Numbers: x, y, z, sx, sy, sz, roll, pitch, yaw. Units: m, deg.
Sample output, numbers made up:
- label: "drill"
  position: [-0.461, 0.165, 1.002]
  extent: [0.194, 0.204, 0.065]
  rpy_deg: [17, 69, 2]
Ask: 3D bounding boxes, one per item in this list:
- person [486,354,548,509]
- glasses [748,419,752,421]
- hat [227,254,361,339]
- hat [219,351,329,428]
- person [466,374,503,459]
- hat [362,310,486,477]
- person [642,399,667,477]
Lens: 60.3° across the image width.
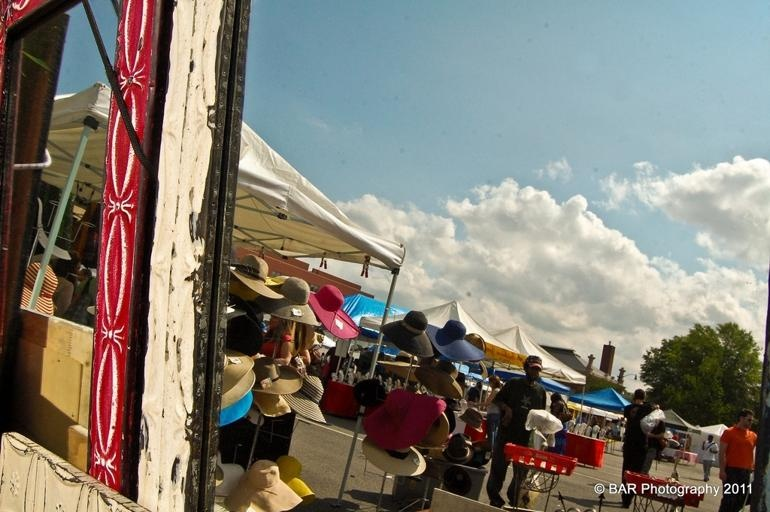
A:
- label: "person"
  position: [1.579, 1.845, 7.244]
  extent: [0.577, 1.695, 0.964]
  rpy_deg: [10, -17, 16]
- label: "glasses"
  position: [4.801, 1.985, 8.102]
  extent: [0.033, 0.046, 0.044]
  rpy_deg: [-5, -11, 8]
- label: "hat"
  position: [-0.919, 0.355, 5.921]
  extent: [1.001, 0.284, 0.922]
  rpy_deg: [29, 10, -1]
- label: "hat"
  position: [-0.954, 1.093, 5.426]
  extent: [0.763, 0.287, 0.827]
  rpy_deg: [6, 8, -40]
- label: "person"
  position: [1.596, 2.280, 9.469]
  extent: [0.700, 0.455, 1.681]
  rpy_deg: [31, 12, 3]
- label: "hat"
  position: [0.443, 1.155, 7.008]
  extent: [1.118, 0.472, 1.244]
  rpy_deg: [23, -9, -18]
- label: "person"
  position: [3.894, 2.422, 8.843]
  extent: [0.318, 0.995, 0.698]
  rpy_deg: [5, -19, 29]
